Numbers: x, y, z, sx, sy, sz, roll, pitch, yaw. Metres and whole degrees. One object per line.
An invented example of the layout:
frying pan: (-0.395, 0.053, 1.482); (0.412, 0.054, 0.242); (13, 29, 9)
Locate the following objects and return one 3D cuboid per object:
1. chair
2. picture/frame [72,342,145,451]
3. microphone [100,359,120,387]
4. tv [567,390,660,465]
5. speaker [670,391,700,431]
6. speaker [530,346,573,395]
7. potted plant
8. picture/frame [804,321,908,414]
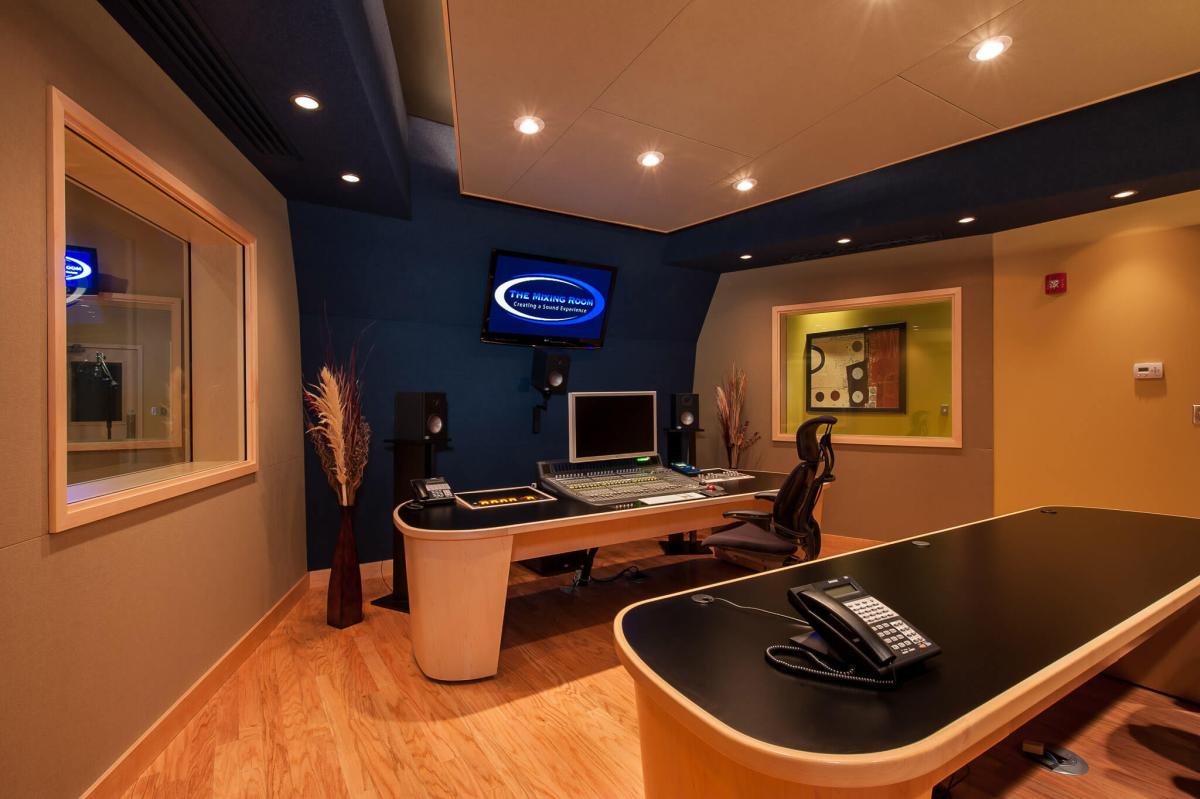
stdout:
chair: (1.114, 0.701, 5.063); (0.768, 1.269, 0.750); (5, 9, 27)
picture/frame: (-2.640, -0.028, 4.071); (0.414, 0.456, 0.020); (1, 3, 17)
microphone: (-2.629, -0.143, 4.076); (0.062, 0.114, 0.118); (-6, -21, 13)
tv: (0.091, 0.216, 5.606); (0.543, 0.374, 0.046); (-1, 0, -30)
speaker: (0.729, 0.109, 6.498); (0.297, 0.428, 0.148); (6, -12, -30)
speaker: (-0.425, -0.253, 6.513); (0.273, 0.405, 0.435); (2, 2, -17)
potted plant: (-1.942, 0.653, 5.611); (0.510, 1.833, 0.899); (2, 2, -21)
picture/frame: (2.380, -0.298, 6.953); (0.844, 0.742, 0.093); (-1, -5, 39)
